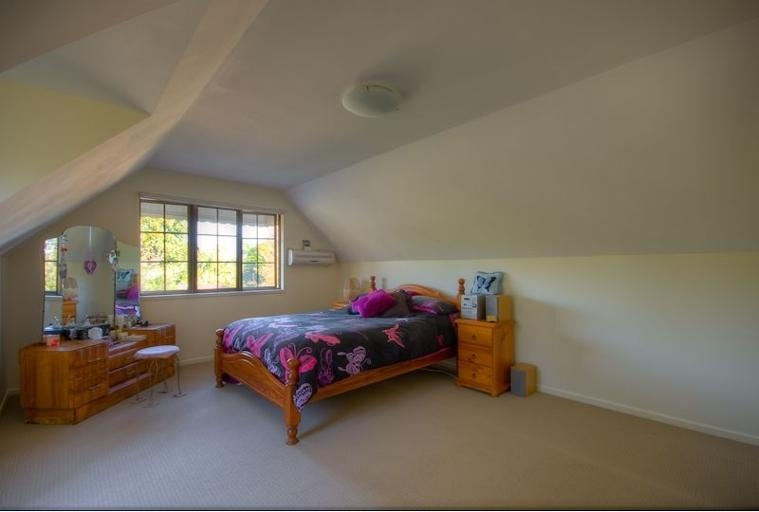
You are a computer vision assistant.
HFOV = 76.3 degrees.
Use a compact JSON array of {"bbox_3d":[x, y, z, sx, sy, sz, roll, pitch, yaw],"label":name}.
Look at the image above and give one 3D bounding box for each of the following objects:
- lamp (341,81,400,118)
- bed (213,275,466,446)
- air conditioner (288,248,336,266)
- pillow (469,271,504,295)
[{"bbox_3d":[-0.060,-1.449,4.440,0.551,0.281,0.362,-3,0,-2],"label":"lamp"},{"bbox_3d":[-0.359,1.080,5.993,2.809,1.636,1.737,-2,-1,-40],"label":"bed"},{"bbox_3d":[-1.087,0.020,7.750,0.802,0.267,0.197,-2,-1,-44],"label":"air conditioner"},{"bbox_3d":[1.358,0.338,6.014,0.273,0.212,0.105,-2,-37,42],"label":"pillow"}]
